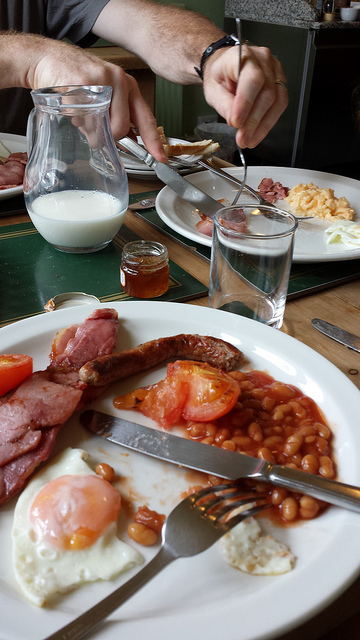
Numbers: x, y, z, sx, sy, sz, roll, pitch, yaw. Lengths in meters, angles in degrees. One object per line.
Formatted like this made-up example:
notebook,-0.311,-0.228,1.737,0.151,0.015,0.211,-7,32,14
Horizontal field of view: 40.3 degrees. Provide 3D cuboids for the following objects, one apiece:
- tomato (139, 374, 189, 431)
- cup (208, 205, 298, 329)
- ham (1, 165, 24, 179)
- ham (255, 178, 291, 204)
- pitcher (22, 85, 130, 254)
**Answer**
tomato,-0.023,0.124,0.717,0.080,0.050,0.109,-7,17,-32
cup,0.150,-0.111,0.933,0.150,0.232,0.143,-1,35,0
ham,-0.520,-0.449,1.509,0.040,0.018,0.054,19,17,38
ham,0.307,-0.434,1.653,0.097,0.035,0.099,21,45,18
pitcher,-0.260,-0.365,1.199,0.278,0.369,0.264,17,30,26
